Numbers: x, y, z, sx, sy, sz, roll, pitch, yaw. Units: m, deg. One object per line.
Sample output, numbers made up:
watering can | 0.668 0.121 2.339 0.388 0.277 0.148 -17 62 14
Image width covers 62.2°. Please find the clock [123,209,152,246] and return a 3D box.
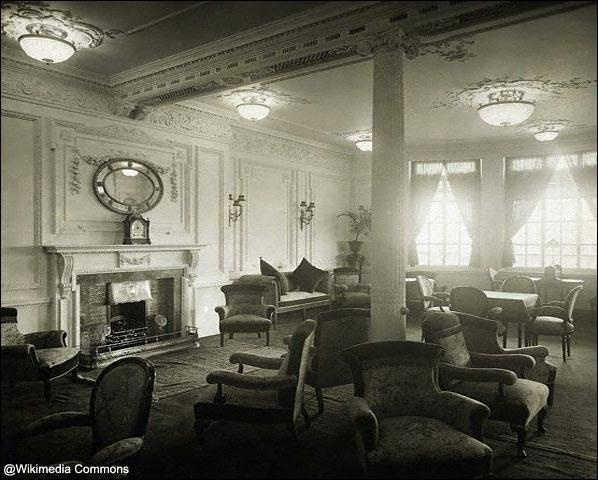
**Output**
clock | -2.219 -0.161 6.819 0.408 0.453 0.172 0 -1 -39

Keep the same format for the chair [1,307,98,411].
chair | -2.982 1.203 5.311 1.071 0.990 0.955 0 -2 10

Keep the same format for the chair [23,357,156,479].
chair | -1.321 1.149 3.270 0.757 0.677 0.538 -1 -1 31

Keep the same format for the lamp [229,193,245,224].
lamp | -1.086 -0.565 8.752 0.298 0.561 0.748 -1 -1 -6

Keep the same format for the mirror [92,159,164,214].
mirror | -2.400 -0.742 6.837 0.081 0.786 0.957 1 -2 39

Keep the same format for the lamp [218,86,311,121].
lamp | -0.625 -2.084 7.372 0.662 0.145 0.653 -2 -4 28
